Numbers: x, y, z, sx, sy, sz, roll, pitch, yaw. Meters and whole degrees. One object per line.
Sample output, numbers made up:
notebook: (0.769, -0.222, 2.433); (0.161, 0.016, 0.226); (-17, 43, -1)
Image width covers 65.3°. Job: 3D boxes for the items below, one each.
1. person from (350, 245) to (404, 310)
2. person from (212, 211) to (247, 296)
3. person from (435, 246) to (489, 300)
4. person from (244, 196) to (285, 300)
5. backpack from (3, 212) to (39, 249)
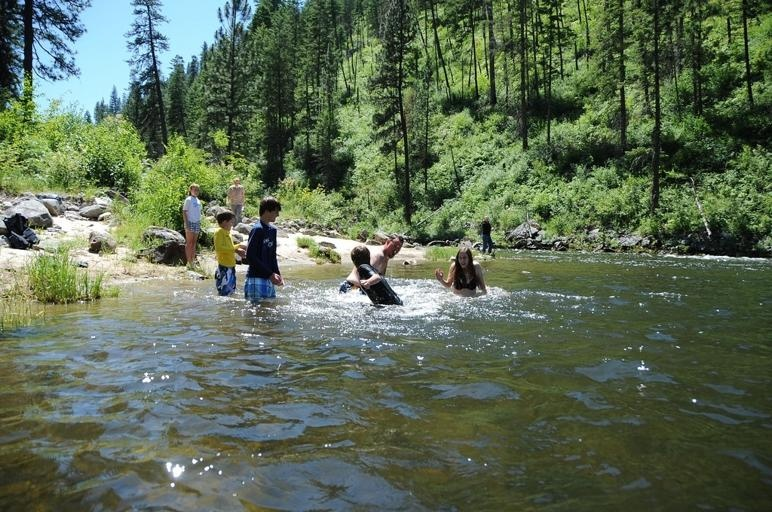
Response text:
person: (-0.268, 0.513, 15.304); (1.189, 1.513, 0.660); (-1, 4, 38)
person: (-4.299, -0.074, 16.427); (0.685, 2.285, 0.938); (-4, 3, -14)
person: (2.158, 0.423, 16.420); (1.157, 1.368, 0.655); (-2, 3, 12)
person: (-3.145, -0.161, 15.483); (1.006, 2.627, 1.026); (-4, 3, -11)
backpack: (-10.887, -0.707, 17.957); (0.840, 1.070, 0.445); (15, -40, -38)
